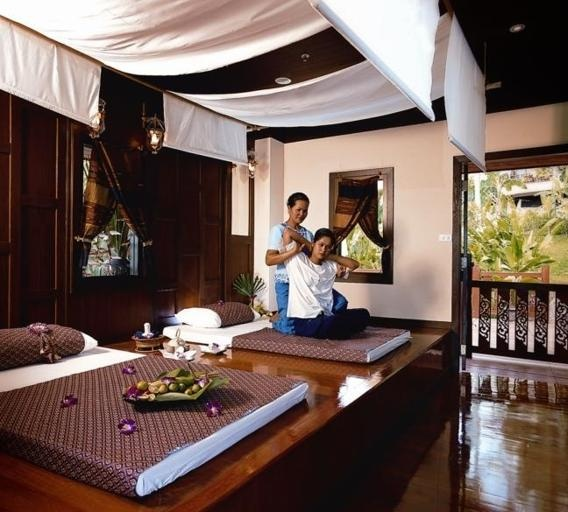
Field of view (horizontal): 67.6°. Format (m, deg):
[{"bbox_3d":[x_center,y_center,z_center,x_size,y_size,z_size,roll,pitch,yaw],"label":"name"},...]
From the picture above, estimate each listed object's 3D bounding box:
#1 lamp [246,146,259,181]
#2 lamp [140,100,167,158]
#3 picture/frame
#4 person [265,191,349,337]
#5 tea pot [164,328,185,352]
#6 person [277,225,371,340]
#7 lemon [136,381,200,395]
[{"bbox_3d":[-0.410,-1.280,5.608,0.133,0.382,0.625,1,1,-4],"label":"lamp"},{"bbox_3d":[-1.245,-1.217,4.042,0.227,0.526,0.163,1,-10,-14],"label":"lamp"},{"bbox_3d":[-1.676,-0.410,4.086,0.108,1.009,0.664,1,0,24],"label":"picture/frame"},{"bbox_3d":[0.170,0.027,3.400,0.572,1.086,0.468,-2,2,-5],"label":"person"},{"bbox_3d":[-0.756,0.592,2.935,0.148,0.179,0.158,4,-1,0],"label":"tea pot"},{"bbox_3d":[0.356,0.239,3.620,0.663,1.044,0.808,-3,-3,39],"label":"person"},{"bbox_3d":[-0.461,0.534,1.717,0.255,0.046,0.104,2,1,-16],"label":"lemon"}]
